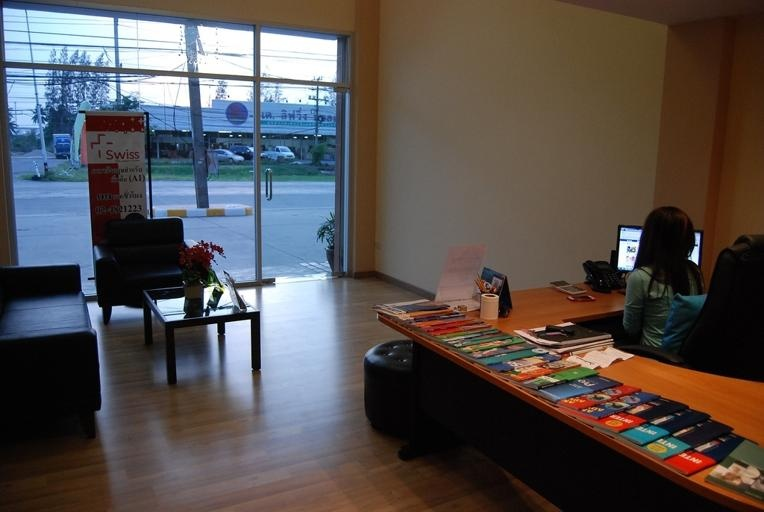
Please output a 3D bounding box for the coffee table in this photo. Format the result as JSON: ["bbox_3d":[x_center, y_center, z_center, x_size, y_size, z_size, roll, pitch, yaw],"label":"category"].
[{"bbox_3d":[-1.847,0.610,5.508,0.903,0.585,1.317,-5,12,-31],"label":"coffee table"}]

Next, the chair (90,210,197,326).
[{"bbox_3d":[-3.080,0.124,6.965,1.287,1.114,0.997,-7,14,-38],"label":"chair"}]

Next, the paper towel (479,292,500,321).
[{"bbox_3d":[0.803,0.382,4.029,0.171,0.183,0.169,-2,14,-7],"label":"paper towel"}]

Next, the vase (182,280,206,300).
[{"bbox_3d":[-2.056,0.373,5.796,0.214,0.153,0.166,-7,17,-33],"label":"vase"}]

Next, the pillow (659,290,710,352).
[{"bbox_3d":[2.229,0.495,3.918,0.592,0.425,0.214,0,4,-44],"label":"pillow"}]

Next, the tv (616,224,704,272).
[{"bbox_3d":[2.496,-0.055,4.777,0.691,0.483,0.063,4,22,33],"label":"tv"}]

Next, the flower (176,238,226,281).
[{"bbox_3d":[-1.986,0.088,5.795,0.412,0.479,0.312,-5,13,-24],"label":"flower"}]
